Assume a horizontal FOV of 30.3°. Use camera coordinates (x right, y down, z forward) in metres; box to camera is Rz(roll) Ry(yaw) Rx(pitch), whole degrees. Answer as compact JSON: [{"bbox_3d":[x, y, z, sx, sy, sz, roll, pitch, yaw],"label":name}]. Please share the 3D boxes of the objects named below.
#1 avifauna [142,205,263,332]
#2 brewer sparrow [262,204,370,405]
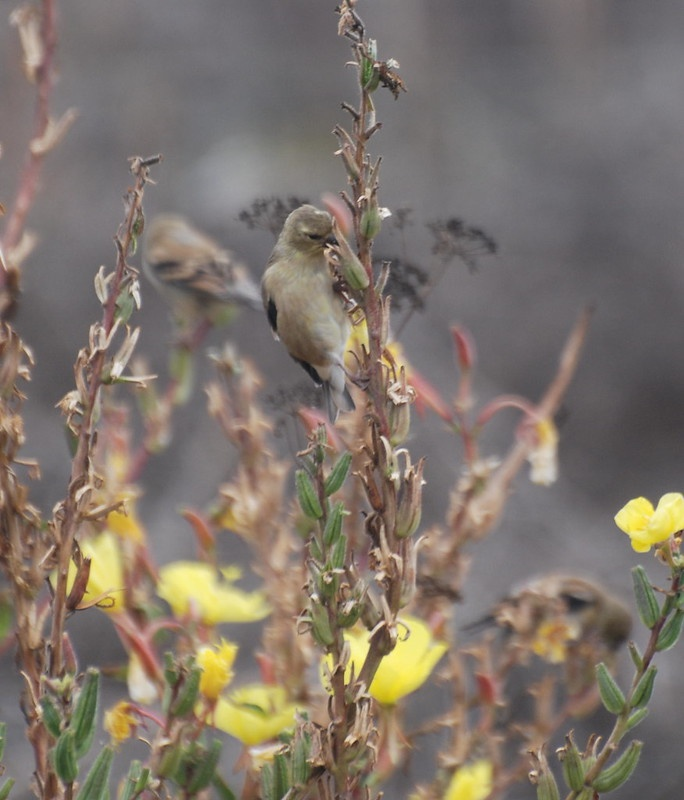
[{"bbox_3d":[-0.084,-0.083,0.818,0.136,0.071,0.051,5,11,33],"label":"avifauna"},{"bbox_3d":[-0.013,-0.053,0.684,0.041,0.097,0.100,-15,-43,-16],"label":"brewer sparrow"}]
